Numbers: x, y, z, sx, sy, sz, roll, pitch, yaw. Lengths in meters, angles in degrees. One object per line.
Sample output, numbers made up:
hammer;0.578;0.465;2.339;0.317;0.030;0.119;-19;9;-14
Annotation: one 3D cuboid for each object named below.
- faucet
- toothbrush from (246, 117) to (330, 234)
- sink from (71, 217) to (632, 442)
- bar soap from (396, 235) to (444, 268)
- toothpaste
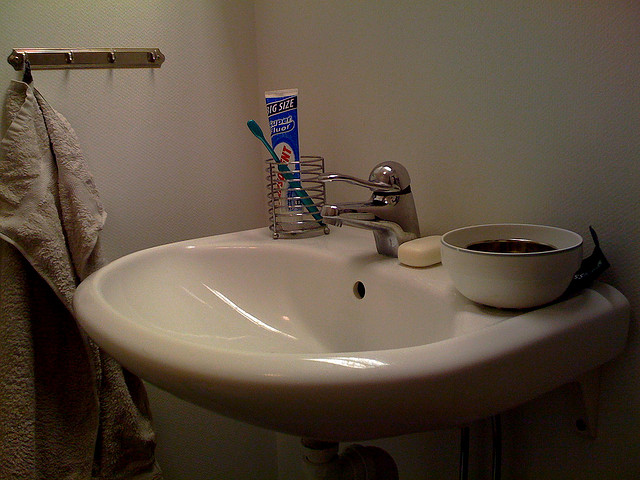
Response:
faucet;0.083;-0.040;0.817;0.200;0.150;0.069;-11;18;-33
toothbrush;-0.063;-0.141;1.058;0.037;0.347;0.023;-38;-2;8
sink;-0.019;0.130;0.815;0.592;0.177;0.736;-13;16;-36
bar soap;0.151;0.020;0.779;0.064;0.031;0.048;-15;16;-42
toothpaste;-0.065;-0.143;0.988;0.095;0.303;0.043;0;5;38
